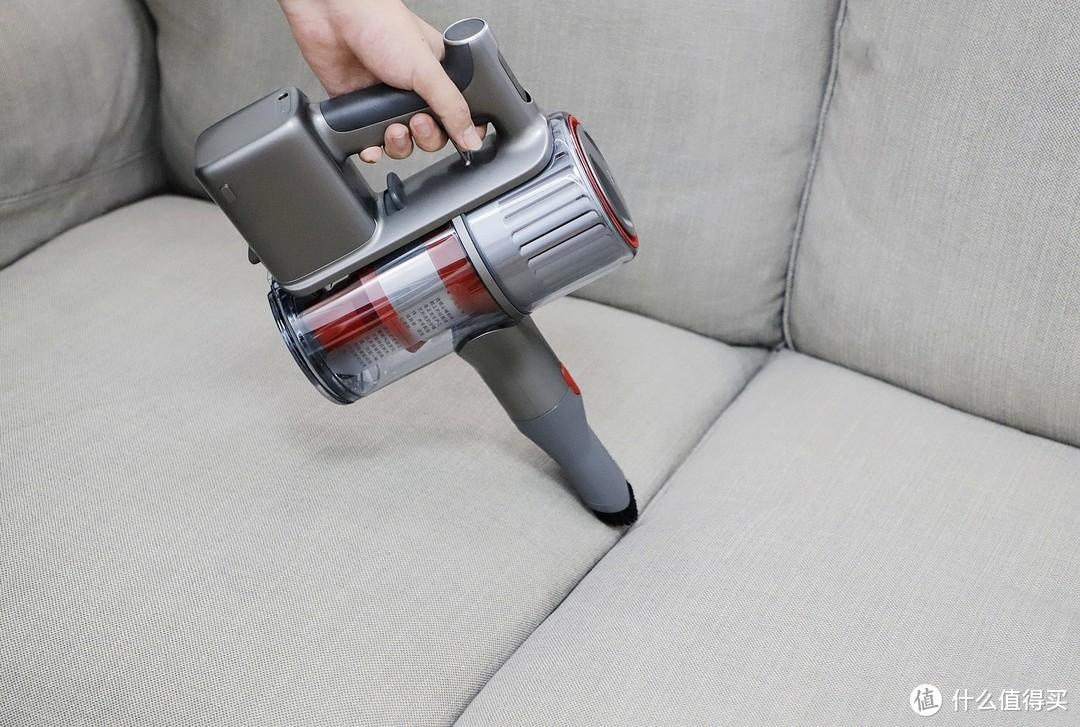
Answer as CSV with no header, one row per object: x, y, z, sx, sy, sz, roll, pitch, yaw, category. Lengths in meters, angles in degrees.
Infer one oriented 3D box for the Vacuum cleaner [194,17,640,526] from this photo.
-0.095,-0.037,1.132,0.416,0.621,0.183,-18,22,1,Vacuum cleaner
